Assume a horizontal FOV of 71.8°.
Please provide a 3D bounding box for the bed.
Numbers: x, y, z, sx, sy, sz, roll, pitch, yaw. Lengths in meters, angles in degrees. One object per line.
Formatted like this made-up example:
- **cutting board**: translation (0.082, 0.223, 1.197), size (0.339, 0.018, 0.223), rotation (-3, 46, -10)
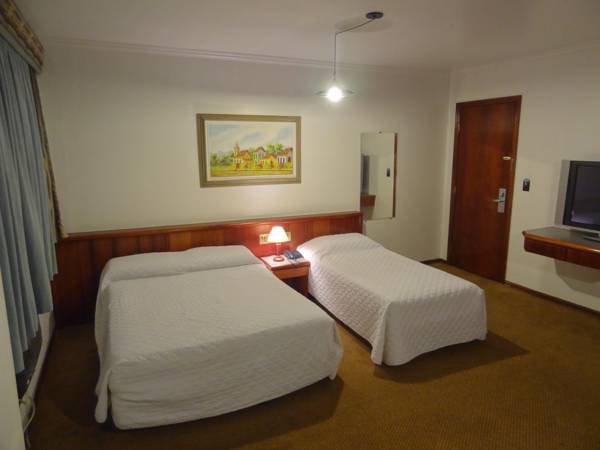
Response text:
- **bed**: translation (-0.089, 0.798, 4.087), size (3.455, 0.961, 1.994), rotation (-6, 12, -26)

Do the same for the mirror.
- **mirror**: translation (1.050, -0.641, 5.516), size (0.519, 1.159, 0.052), rotation (-5, 11, -22)

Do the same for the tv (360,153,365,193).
- **tv**: translation (0.836, -0.667, 5.443), size (0.093, 0.497, 0.018), rotation (-7, 12, -33)

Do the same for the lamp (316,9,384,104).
- **lamp**: translation (0.574, -1.649, 4.077), size (0.720, 0.878, 0.401), rotation (-9, 24, -19)
